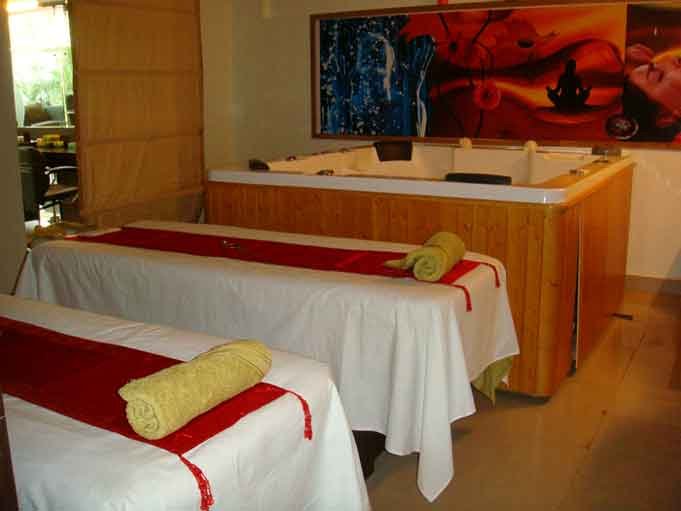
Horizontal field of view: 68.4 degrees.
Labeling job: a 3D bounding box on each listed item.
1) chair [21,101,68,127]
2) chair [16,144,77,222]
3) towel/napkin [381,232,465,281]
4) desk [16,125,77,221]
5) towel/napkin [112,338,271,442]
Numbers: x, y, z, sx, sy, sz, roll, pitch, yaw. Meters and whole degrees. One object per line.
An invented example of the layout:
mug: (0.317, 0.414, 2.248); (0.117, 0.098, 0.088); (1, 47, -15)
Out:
chair: (-3.919, -1.910, 6.676); (0.380, 0.399, 0.393); (5, 16, 16)
chair: (-2.288, -0.508, 3.996); (0.378, 0.624, 0.425); (-7, 0, -23)
towel/napkin: (0.345, -0.011, 1.831); (0.191, 0.087, 0.203); (-2, 17, 30)
desk: (-2.337, -0.564, 4.010); (0.443, 0.696, 0.373); (12, 16, 38)
towel/napkin: (-0.299, 0.211, 0.993); (0.125, 0.092, 0.253); (9, 14, 27)
